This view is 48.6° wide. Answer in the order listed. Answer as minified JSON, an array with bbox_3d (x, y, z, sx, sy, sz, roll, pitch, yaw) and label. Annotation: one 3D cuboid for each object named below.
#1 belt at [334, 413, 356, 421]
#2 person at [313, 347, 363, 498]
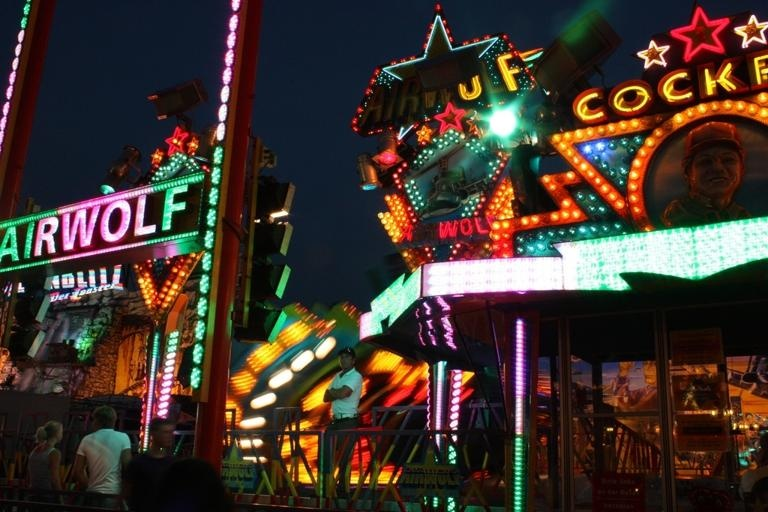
[{"bbox_3d":[-0.775,3.113,16.470,0.428,0.114,0.080,-1,-22,7],"label":"belt"},{"bbox_3d":[-0.854,3.179,16.505,0.720,2.873,1.032,4,-23,-4],"label":"person"}]
